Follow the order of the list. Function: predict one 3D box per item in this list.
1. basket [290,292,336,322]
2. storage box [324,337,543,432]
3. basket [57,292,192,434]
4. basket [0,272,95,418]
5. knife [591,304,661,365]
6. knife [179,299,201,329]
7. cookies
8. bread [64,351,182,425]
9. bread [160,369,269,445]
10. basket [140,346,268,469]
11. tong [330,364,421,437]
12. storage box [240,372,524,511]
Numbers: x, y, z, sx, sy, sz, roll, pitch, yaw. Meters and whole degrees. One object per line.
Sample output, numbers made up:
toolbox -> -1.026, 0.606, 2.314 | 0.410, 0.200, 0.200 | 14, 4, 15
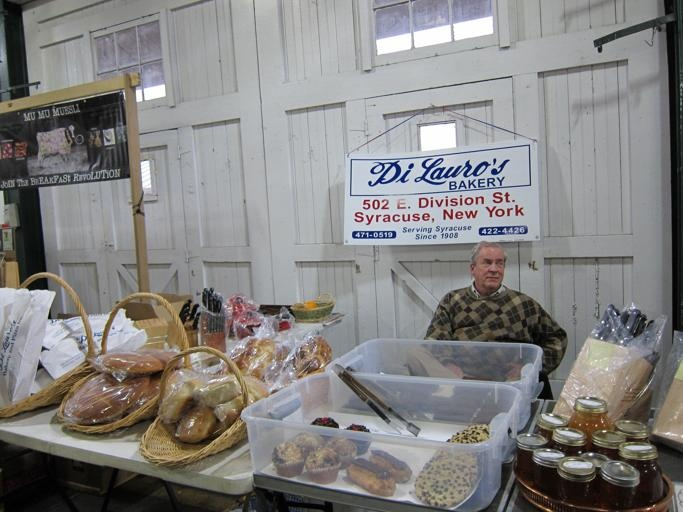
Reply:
basket -> -0.186, 0.357, 3.763 | 0.239, 0.150, 0.325 | 1, 6, 31
storage box -> 0.414, 0.431, 2.138 | 0.548, 0.178, 0.381 | -2, 3, 25
basket -> -0.787, 0.339, 2.211 | 0.417, 0.224, 0.615 | 4, 23, 9
basket -> -1.215, 0.348, 2.368 | 0.431, 0.564, 0.148 | -28, -23, -9
knife -> 0.959, 0.257, 1.837 | 0.214, 0.179, 0.134 | 2, 6, 34
knife -> -0.790, 0.301, 2.811 | 0.101, 0.040, 0.172 | 10, 42, -30
cookies -> 0.314, 0.633, 1.588 | 0.131, 0.057, 0.273 | 12, 38, 37
bread -> -0.825, 0.491, 2.019 | 0.261, 0.123, 0.357 | 11, 13, 26
bread -> -0.471, 0.511, 1.855 | 0.222, 0.114, 0.293 | 3, 5, 5
basket -> -0.454, 0.511, 2.004 | 0.282, 0.311, 0.487 | 3, 8, 21
tong -> 0.110, 0.507, 1.877 | 0.286, 0.050, 0.033 | 42, -9, 34
storage box -> 0.121, 0.494, 1.711 | 0.594, 0.168, 0.450 | -1, 3, 23
